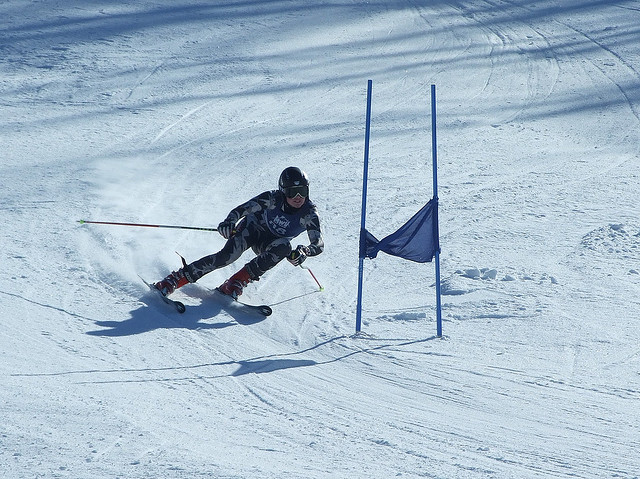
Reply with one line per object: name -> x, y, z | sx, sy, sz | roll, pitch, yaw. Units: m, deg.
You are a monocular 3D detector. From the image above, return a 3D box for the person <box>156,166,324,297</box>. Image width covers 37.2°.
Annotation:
person -> -1.228, -0.047, 14.339 | 2.417, 1.490, 1.056 | -35, 14, 0

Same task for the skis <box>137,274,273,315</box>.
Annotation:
skis -> -1.655, 0.787, 13.304 | 2.016, 0.141, 0.183 | 12, 17, -14

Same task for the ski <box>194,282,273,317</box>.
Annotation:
ski -> -1.288, 0.819, 13.223 | 1.338, 0.100, 0.140 | 14, 50, 12
